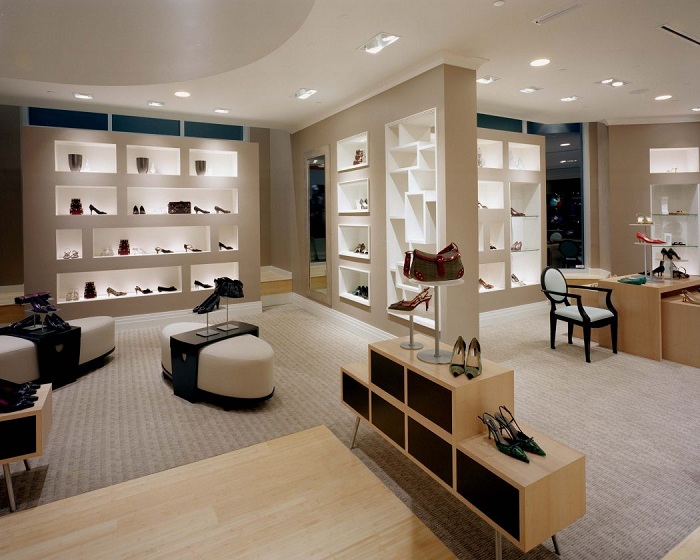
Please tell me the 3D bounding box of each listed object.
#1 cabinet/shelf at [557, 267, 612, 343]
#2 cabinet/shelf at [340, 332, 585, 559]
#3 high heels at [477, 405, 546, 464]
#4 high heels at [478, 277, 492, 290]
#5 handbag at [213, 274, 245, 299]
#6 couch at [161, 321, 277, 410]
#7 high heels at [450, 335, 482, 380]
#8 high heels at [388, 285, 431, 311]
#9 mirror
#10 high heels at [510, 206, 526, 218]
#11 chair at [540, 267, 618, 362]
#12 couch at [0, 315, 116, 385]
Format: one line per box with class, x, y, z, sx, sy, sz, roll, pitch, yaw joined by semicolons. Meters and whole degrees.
cabinet/shelf;2.961;0.353;6.413;0.437;0.941;0.892;0;1;-24
cabinet/shelf;0.723;1.065;3.431;0.549;0.969;1.600;-11;16;-40
high heels;0.984;0.963;3.134;0.222;0.122;0.311;-9;20;-39
high heels;2.073;0.053;7.697;0.198;0.132;0.255;2;13;15
handbag;-1.240;0.107;5.346;0.232;0.170;0.336;2;-11;42
couch;-1.243;0.851;4.932;1.044;0.601;0.519;3;13;19
high heels;0.781;0.511;3.425;0.164;0.122;0.310;-1;10;11
high heels;0.477;0.135;3.892;0.365;0.235;0.183;-1;2;10
mirror;-0.491;-0.864;7.912;0.228;2.402;0.952;-5;12;-20
high heels;2.623;-1.088;8.012;0.391;0.187;0.137;-3;2;-23
chair;2.784;0.387;6.224;0.754;1.404;0.964;-2;2;-30
couch;-3.098;0.773;5.369;0.430;0.563;1.400;4;14;25
